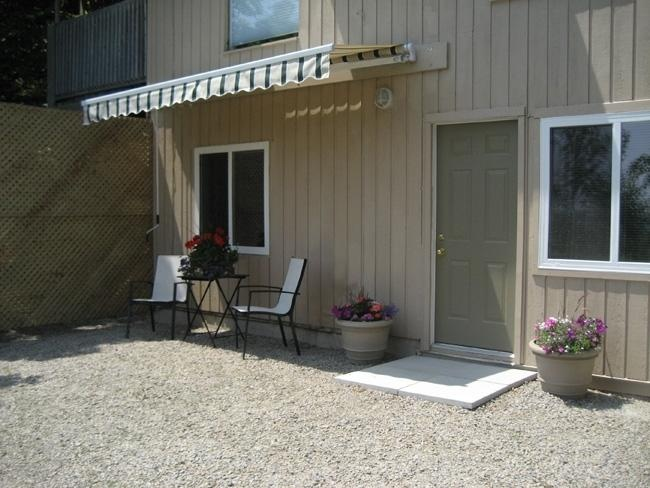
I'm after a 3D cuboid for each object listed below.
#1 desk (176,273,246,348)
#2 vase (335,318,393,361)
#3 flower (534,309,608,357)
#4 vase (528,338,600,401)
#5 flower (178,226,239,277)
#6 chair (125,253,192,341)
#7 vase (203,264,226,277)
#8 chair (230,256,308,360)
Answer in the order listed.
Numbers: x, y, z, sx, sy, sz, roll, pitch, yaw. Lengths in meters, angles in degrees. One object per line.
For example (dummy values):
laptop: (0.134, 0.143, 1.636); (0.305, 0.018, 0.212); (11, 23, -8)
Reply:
desk: (-1.743, 0.956, 9.489); (0.790, 0.899, 0.786); (8, -5, 40)
vase: (0.498, 1.185, 7.771); (0.612, 0.561, 0.712); (-3, 5, -1)
flower: (2.584, 0.969, 6.378); (0.621, 0.405, 0.666); (-5, -1, -14)
vase: (2.503, 1.244, 6.421); (0.633, 0.529, 0.645); (-16, -7, -40)
flower: (-1.665, 0.163, 8.889); (0.723, 0.657, 0.650); (3, 5, 42)
chair: (-2.458, 0.784, 9.128); (0.767, 1.380, 0.989); (1, -5, -7)
vase: (-1.564, 0.383, 8.696); (0.243, 0.159, 0.198); (3, 44, -16)
chair: (-0.759, 0.839, 8.257); (0.919, 1.398, 0.996); (2, 0, -3)
